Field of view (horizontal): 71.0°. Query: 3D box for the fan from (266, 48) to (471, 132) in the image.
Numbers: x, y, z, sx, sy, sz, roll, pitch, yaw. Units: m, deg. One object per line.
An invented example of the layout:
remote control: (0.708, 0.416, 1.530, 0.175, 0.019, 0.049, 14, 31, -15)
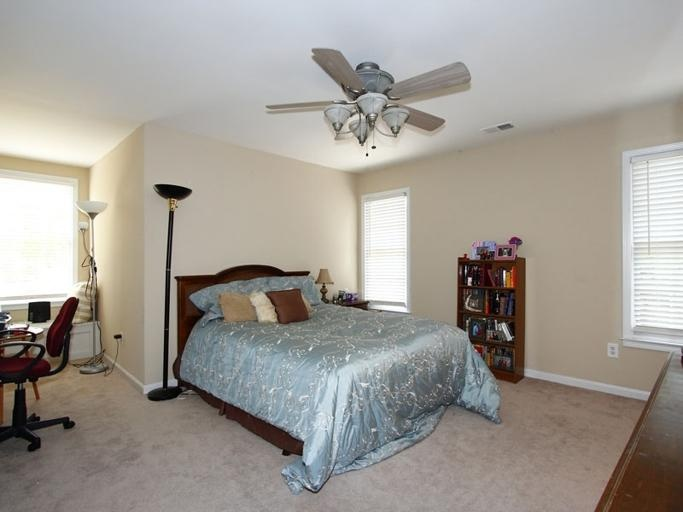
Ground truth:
fan: (0.330, -1.352, 3.866, 0.934, 0.148, 0.998, 15, -17, -34)

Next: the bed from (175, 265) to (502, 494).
bed: (-0.432, 1.029, 4.776, 1.890, 1.188, 2.257, -5, 8, -42)

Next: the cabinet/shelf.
cabinet/shelf: (1.900, 0.696, 6.022, 0.758, 1.442, 0.317, 6, 15, 44)

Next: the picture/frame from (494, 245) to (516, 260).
picture/frame: (2.000, -0.056, 5.821, 0.264, 0.181, 0.265, 4, 13, 19)
